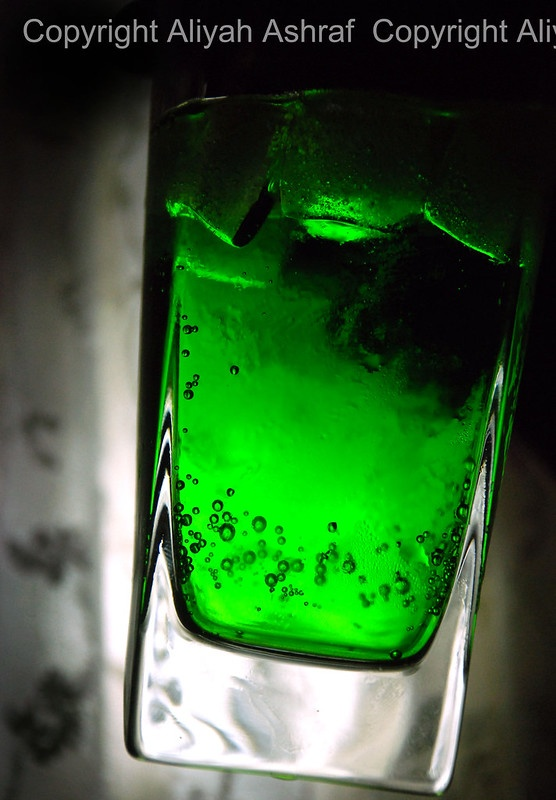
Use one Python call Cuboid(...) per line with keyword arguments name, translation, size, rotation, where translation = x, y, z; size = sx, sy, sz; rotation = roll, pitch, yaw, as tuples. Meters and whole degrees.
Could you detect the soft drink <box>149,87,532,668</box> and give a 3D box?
Cuboid(name="soft drink", translation=(0.043, -0.007, 0.397), size=(0.170, 0.172, 0.289), rotation=(5, -72, 10))
